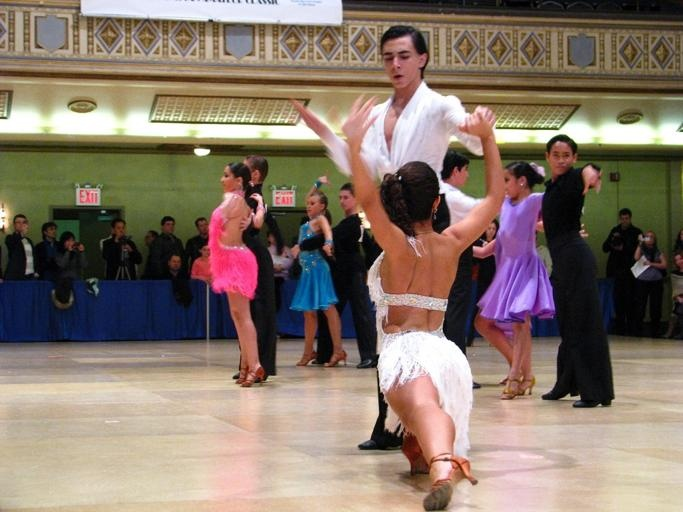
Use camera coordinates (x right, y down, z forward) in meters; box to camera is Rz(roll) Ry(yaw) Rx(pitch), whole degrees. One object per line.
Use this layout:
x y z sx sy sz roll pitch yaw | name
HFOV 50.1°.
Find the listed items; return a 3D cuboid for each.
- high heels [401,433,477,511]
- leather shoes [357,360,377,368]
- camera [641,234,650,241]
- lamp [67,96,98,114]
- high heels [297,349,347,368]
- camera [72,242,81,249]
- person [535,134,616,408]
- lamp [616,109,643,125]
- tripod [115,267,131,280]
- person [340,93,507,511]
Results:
0.408 0.911 2.921 0.190 0.448 0.149 -19 33 22 | high heels
0.280 1.154 7.827 0.220 0.093 0.082 5 -12 -17 | leather shoes
5.493 -0.341 13.181 0.173 0.120 0.242 -1 -5 5 | camera
-4.283 -2.501 12.098 0.477 0.173 0.452 -1 1 -12 | lamp
-0.228 1.125 8.205 0.587 0.221 0.213 1 -5 7 | high heels
-4.563 -0.187 12.653 0.122 0.059 0.158 2 9 -25 | camera
1.757 0.093 5.437 0.424 2.004 0.540 -1 1 -10 | person
5.406 -2.610 13.662 0.270 0.068 0.277 -5 -19 9 | lamp
-3.910 0.321 13.234 0.217 0.302 0.223 1 -14 -5 | tripod
0.374 0.151 3.222 0.682 1.704 0.843 0 1 35 | person
